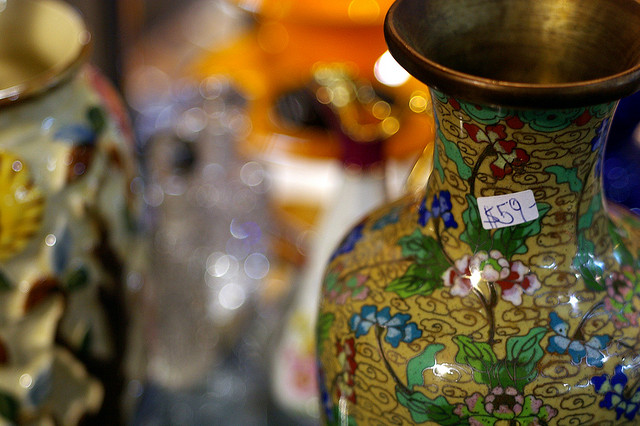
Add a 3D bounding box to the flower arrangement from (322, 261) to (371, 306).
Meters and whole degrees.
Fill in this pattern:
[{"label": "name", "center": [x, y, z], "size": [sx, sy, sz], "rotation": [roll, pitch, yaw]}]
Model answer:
[{"label": "flower arrangement", "center": [0.029, 0.072, 0.785], "size": [0.046, 0.037, 0.041], "rotation": [7, 99, 51]}]
